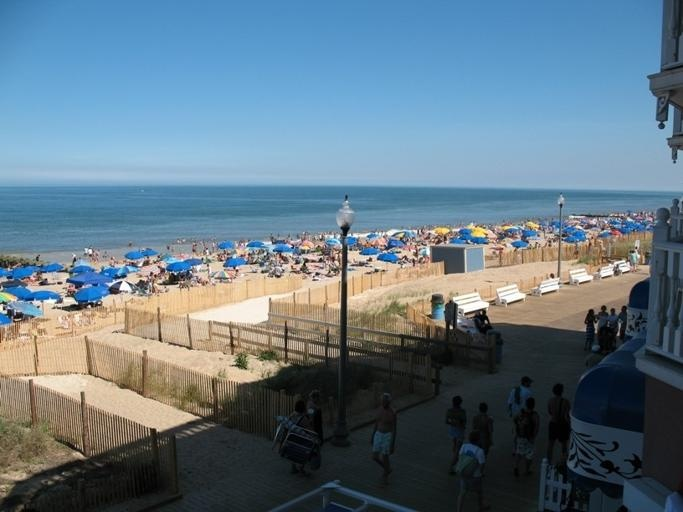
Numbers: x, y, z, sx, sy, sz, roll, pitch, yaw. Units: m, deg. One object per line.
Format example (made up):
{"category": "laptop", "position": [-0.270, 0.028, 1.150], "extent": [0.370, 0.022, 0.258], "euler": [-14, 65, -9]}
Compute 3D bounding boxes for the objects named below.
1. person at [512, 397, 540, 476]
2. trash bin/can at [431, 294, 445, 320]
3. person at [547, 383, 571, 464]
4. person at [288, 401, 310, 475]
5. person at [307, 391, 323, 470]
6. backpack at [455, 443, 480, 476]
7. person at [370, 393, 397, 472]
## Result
{"category": "person", "position": [3.322, 3.244, 10.002], "extent": [0.427, 1.508, 0.910], "euler": [-2, 3, 16]}
{"category": "trash bin/can", "position": [3.861, 2.071, 22.073], "extent": [0.493, 0.954, 0.773], "euler": [-2, 3, 6]}
{"category": "person", "position": [4.007, 3.097, 10.214], "extent": [0.394, 1.611, 1.447], "euler": [-2, 3, 20]}
{"category": "person", "position": [-0.750, 3.331, 10.182], "extent": [0.384, 1.421, 0.773], "euler": [-3, 3, -4]}
{"category": "person", "position": [-0.465, 3.229, 10.287], "extent": [0.247, 1.502, 0.942], "euler": [-3, 3, -4]}
{"category": "backpack", "position": [1.952, 3.168, 8.433], "extent": [0.369, 0.556, 0.166], "euler": [-2, 3, 3]}
{"category": "person", "position": [0.771, 3.203, 9.961], "extent": [0.408, 1.632, 0.928], "euler": [-3, 3, 2]}
